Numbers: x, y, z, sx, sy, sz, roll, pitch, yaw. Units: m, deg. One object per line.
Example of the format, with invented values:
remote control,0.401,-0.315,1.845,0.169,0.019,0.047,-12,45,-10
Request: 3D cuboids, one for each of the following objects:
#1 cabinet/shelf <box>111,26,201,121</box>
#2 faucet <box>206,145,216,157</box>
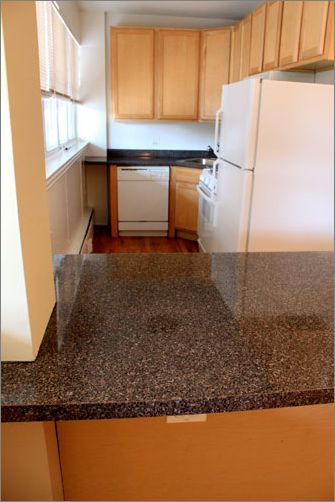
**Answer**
cabinet/shelf,-0.124,-2.131,4.459,1.071,1.066,0.410,0,36,-3
faucet,0.572,-1.284,4.828,0.115,0.163,0.389,2,16,5
